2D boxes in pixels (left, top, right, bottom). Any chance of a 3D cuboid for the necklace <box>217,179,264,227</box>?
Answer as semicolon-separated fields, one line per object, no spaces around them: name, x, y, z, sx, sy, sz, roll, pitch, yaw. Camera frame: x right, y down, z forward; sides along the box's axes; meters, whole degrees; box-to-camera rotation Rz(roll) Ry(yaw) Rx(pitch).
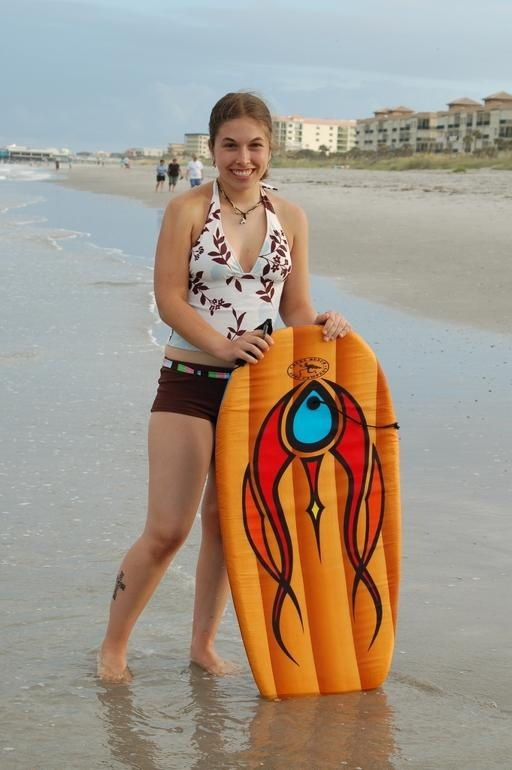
necklace;-0.038;-0.500;2.267;0.111;0.129;0.039;-3;12;-25

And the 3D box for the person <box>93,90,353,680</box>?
person;-0.111;0.034;2.394;0.636;1.703;0.358;-5;11;-38
